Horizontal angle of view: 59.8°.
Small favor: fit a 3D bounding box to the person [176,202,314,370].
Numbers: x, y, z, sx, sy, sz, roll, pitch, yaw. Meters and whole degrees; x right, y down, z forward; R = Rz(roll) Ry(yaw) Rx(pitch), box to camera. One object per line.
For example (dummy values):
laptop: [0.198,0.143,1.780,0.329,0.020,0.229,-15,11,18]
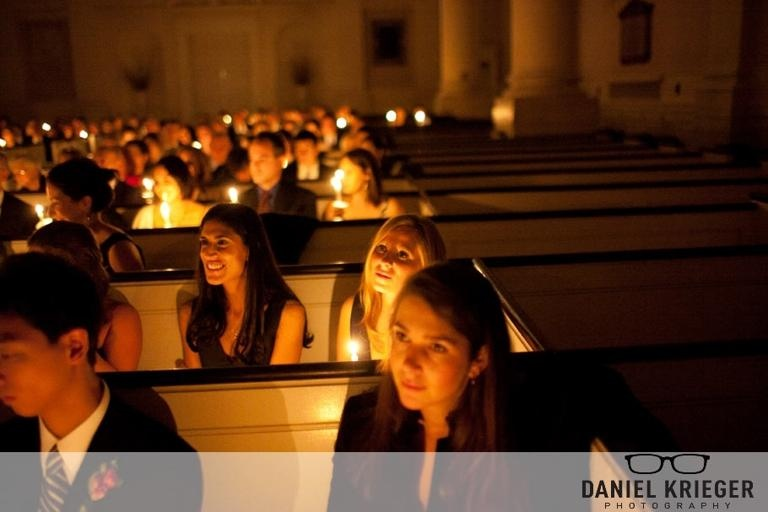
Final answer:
person: [-0.656,0.163,3.276,0.693,0.981,0.523,-5,-11,12]
